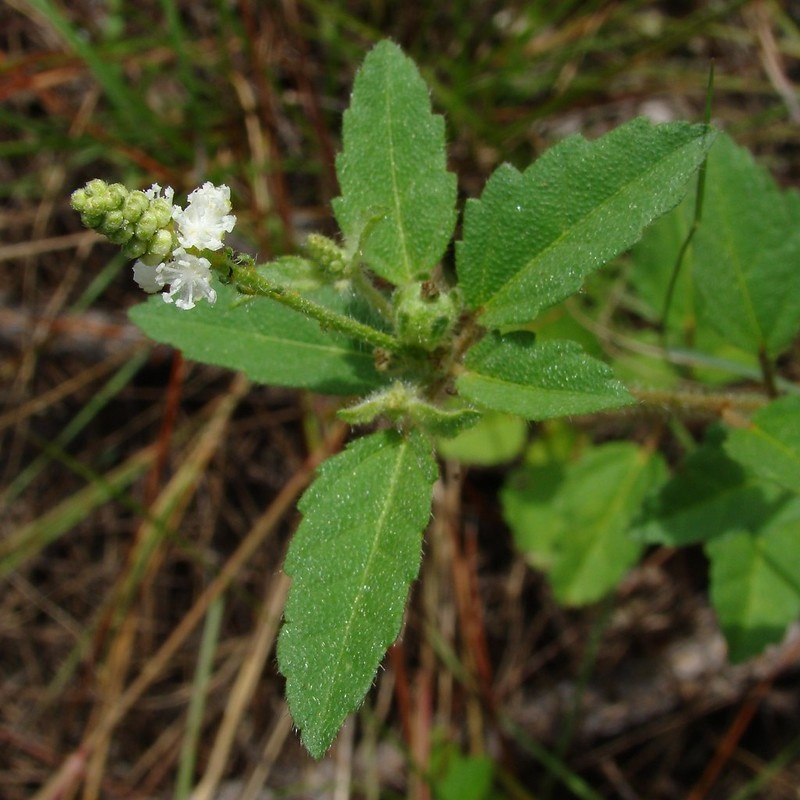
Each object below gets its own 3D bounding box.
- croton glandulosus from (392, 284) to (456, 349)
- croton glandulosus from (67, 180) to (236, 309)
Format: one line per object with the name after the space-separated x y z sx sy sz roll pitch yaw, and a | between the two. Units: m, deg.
0.083 -0.238 2.334 0.202 0.186 0.188 5 86 -18 | croton glandulosus
-0.614 -0.410 2.095 0.367 0.350 0.304 4 46 4 | croton glandulosus
